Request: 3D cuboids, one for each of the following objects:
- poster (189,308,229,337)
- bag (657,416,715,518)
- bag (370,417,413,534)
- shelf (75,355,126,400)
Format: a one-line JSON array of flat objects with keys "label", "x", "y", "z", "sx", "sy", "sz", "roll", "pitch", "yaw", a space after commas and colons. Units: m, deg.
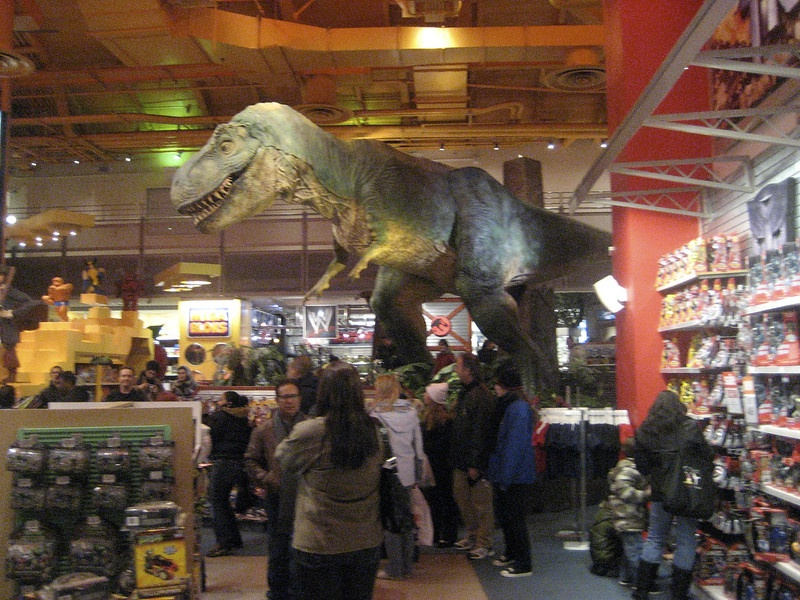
[{"label": "poster", "x": -4.554, "y": 0.561, "z": 16.300, "sx": 1.095, "sy": 0.470, "sz": 0.116, "roll": -1, "pitch": -9, "yaw": 0}, {"label": "bag", "x": 2.168, "y": 1.274, "z": 5.110, "sx": 0.352, "sy": 0.710, "sz": 0.191, "roll": 6, "pitch": -7, "yaw": -22}, {"label": "bag", "x": -0.026, "y": 1.347, "z": 4.651, "sx": 0.230, "sy": 0.512, "sz": 0.267, "roll": 3, "pitch": -6, "yaw": 2}, {"label": "shelf", "x": -4.848, "y": 1.257, "z": 10.947, "sx": 0.399, "sy": 0.774, "sz": 1.090, "roll": 0, "pitch": -7, "yaw": 15}]
